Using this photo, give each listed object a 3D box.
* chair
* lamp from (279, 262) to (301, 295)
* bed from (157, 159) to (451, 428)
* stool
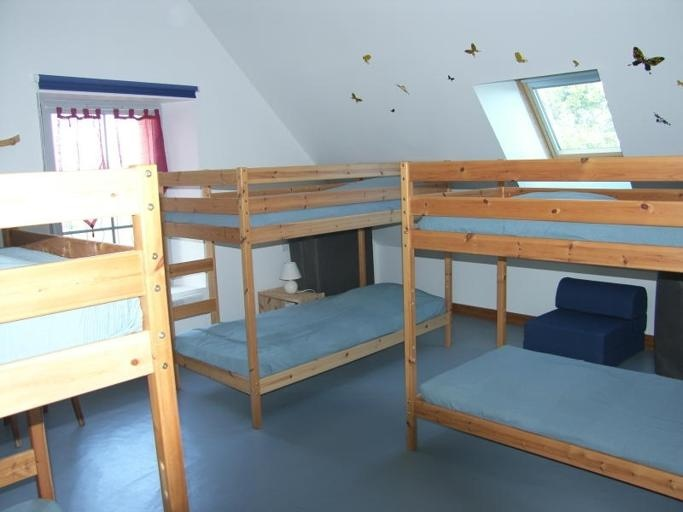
[{"bbox_3d":[2.785,0.711,5.718,1.003,0.639,0.988,-16,14,-32],"label":"chair"},{"bbox_3d":[-0.733,0.323,7.126,0.365,0.420,0.368,-2,3,44],"label":"lamp"},{"bbox_3d":[-0.330,0.242,6.198,3.367,2.323,1.892,-8,7,-44],"label":"bed"},{"bbox_3d":[-2.837,1.533,4.688,0.453,0.389,0.560,2,10,31],"label":"stool"}]
